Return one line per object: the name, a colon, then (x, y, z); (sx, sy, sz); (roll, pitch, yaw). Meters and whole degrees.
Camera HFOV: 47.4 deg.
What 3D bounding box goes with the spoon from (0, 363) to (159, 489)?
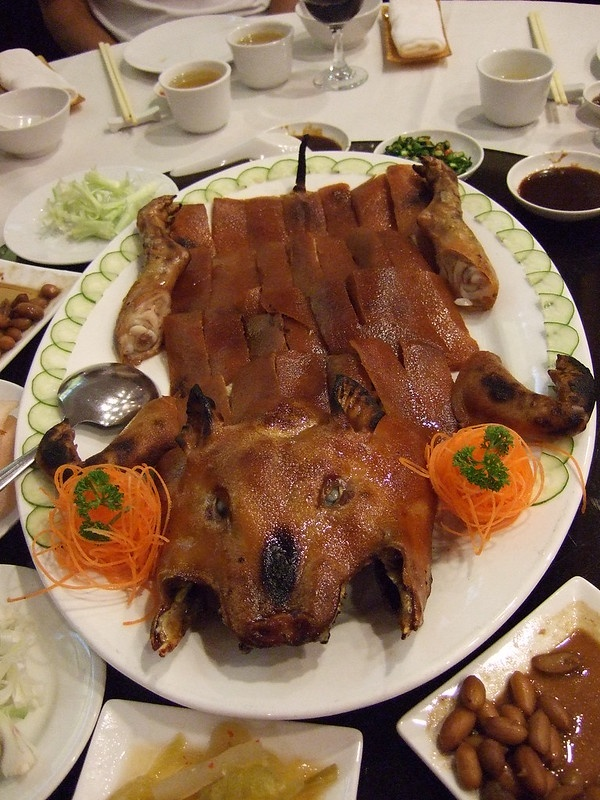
spoon: (-0.749, 0.040, 2.411); (0.309, 0.080, 0.573); (19, 46, 24)
